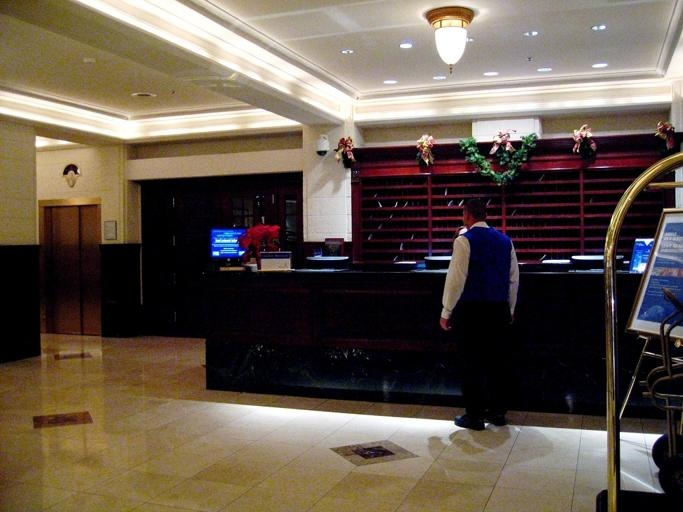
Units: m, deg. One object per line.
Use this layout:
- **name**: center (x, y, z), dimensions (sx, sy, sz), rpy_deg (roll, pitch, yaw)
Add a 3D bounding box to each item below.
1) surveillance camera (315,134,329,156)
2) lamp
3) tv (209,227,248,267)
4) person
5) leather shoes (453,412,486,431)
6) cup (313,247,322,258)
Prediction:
- **surveillance camera**: center (-0.313, -1.805, 8.994), dimensions (0.228, 0.346, 0.222), rpy_deg (1, 3, 4)
- **lamp**: center (1.164, -2.344, 6.046), dimensions (0.615, 0.625, 0.569), rpy_deg (-1, 2, -2)
- **tv**: center (-1.748, -0.146, 8.561), dimensions (0.679, 0.593, 0.361), rpy_deg (1, -6, -9)
- **person**: center (1.258, 0.542, 5.007), dimensions (0.671, 2.111, 0.392), rpy_deg (1, 3, 11)
- **leather shoes**: center (1.174, 1.531, 5.052), dimensions (0.298, 0.113, 0.125), rpy_deg (2, 2, 41)
- **cup**: center (-0.346, -0.039, 8.021), dimensions (0.167, 0.145, 0.278), rpy_deg (5, 0, -7)
